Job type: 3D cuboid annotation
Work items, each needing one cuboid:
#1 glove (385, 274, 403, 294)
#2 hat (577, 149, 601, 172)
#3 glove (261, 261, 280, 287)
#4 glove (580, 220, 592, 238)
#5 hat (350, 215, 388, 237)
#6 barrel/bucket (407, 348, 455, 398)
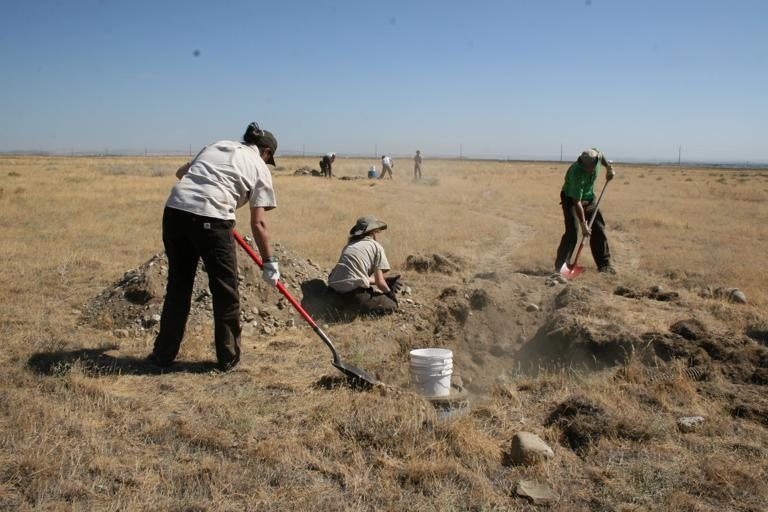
[{"bbox_3d":[0.183,0.497,9.941,0.081,0.299,0.277,10,-25,-27],"label":"glove"},{"bbox_3d":[3.742,-1.708,10.491,0.410,0.405,0.451,2,13,0],"label":"hat"},{"bbox_3d":[-1.410,0.229,7.409,0.185,0.295,0.114,-3,5,4],"label":"glove"},{"bbox_3d":[3.637,-0.476,10.458,0.091,0.333,0.224,2,1,-10],"label":"glove"},{"bbox_3d":[-0.233,-0.490,9.572,0.397,0.178,0.411,-4,9,42],"label":"hat"},{"bbox_3d":[0.622,1.484,7.595,0.588,0.528,0.594,2,7,0],"label":"barrel/bucket"}]
